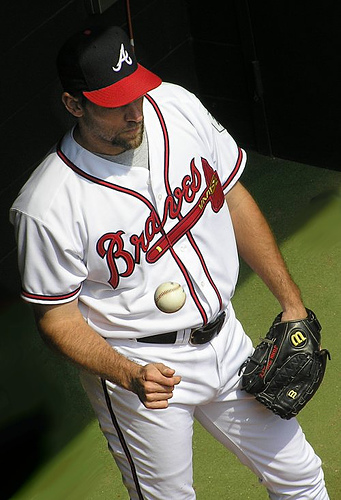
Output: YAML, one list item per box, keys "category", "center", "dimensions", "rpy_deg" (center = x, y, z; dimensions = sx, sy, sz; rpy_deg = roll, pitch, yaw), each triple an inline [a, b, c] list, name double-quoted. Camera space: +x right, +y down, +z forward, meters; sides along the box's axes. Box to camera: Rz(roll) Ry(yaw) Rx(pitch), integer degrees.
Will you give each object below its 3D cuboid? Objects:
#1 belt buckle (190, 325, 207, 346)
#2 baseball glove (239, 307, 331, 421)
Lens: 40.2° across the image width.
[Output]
- category: "belt buckle"
  center: [0.087, 0.295, 1.623]
  dimensions: [0.069, 0.066, 0.018]
  rpy_deg: [-27, 33, -21]
- category: "baseball glove"
  center: [0.462, 0.416, 1.805]
  dimensions: [0.271, 0.181, 0.432]
  rpy_deg: [32, 66, 26]
